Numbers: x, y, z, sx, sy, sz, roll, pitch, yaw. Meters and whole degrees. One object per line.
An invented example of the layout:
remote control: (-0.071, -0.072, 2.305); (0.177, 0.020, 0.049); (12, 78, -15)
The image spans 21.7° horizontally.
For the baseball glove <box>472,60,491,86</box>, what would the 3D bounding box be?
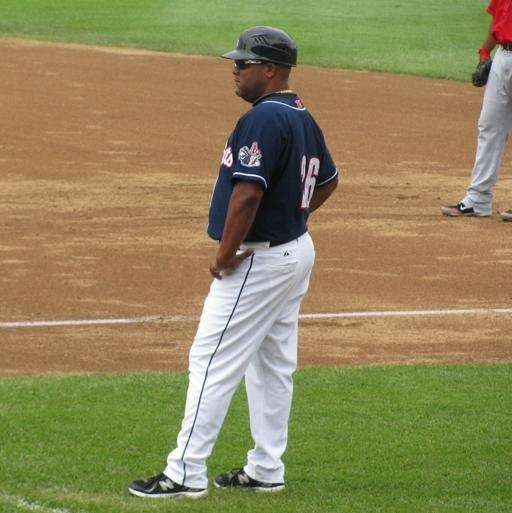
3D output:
baseball glove: (2.581, -2.074, 15.282); (0.102, 0.258, 0.189); (26, 25, -1)

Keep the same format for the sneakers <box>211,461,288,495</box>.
sneakers: (-0.080, 1.888, 11.289); (0.564, 0.243, 0.230); (7, 1, 6)

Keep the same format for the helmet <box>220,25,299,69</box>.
helmet: (0.068, -1.734, 11.043); (0.438, 0.232, 0.341); (5, 10, 0)

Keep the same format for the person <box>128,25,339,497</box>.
person: (-0.046, 0.082, 11.085); (1.058, 3.804, 1.067); (7, 13, -1)
